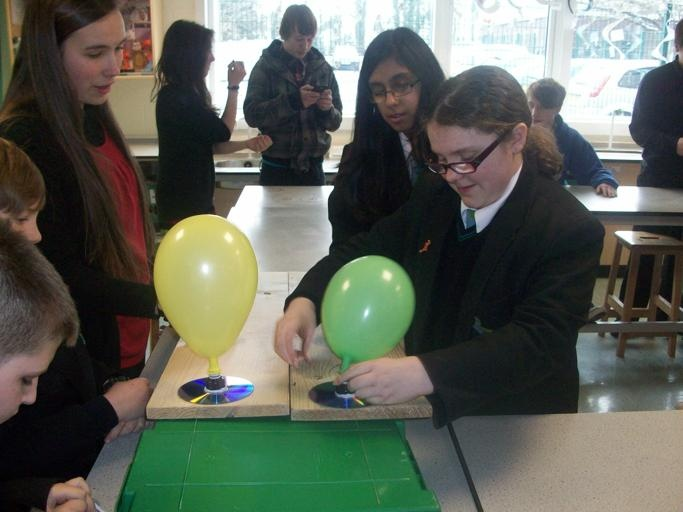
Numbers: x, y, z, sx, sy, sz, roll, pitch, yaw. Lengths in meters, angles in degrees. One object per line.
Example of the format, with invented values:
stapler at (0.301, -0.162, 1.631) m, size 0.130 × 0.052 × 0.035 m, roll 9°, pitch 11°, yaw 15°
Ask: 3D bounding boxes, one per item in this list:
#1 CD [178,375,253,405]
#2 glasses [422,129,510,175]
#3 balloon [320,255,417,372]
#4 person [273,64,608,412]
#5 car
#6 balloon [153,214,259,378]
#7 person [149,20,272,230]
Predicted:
CD at (-0.280, 0.300, 1.275) m, size 0.168 × 0.020 × 0.107 m, roll 2°, pitch 19°, yaw -5°
glasses at (0.315, -0.284, 1.477) m, size 0.199 × 0.101 × 0.140 m, roll -2°, pitch 22°, yaw -10°
balloon at (0.064, 0.121, 1.366) m, size 0.217 × 0.253 × 0.278 m, roll 0°, pitch 15°, yaw -2°
person at (0.316, 0.159, 1.531) m, size 0.529 × 1.233 × 0.537 m, roll -4°, pitch 14°, yaw -16°
car at (2.240, -1.700, 5.481) m, size 3.003 × 1.222 × 0.732 m, roll 0°, pitch 4°, yaw 2°
balloon at (-0.306, 0.113, 1.314) m, size 0.247 × 0.423 × 0.255 m, roll 3°, pitch 17°, yaw 14°
person at (-0.775, -0.662, 3.366) m, size 0.655 × 1.328 × 0.552 m, roll -5°, pitch 25°, yaw -15°
